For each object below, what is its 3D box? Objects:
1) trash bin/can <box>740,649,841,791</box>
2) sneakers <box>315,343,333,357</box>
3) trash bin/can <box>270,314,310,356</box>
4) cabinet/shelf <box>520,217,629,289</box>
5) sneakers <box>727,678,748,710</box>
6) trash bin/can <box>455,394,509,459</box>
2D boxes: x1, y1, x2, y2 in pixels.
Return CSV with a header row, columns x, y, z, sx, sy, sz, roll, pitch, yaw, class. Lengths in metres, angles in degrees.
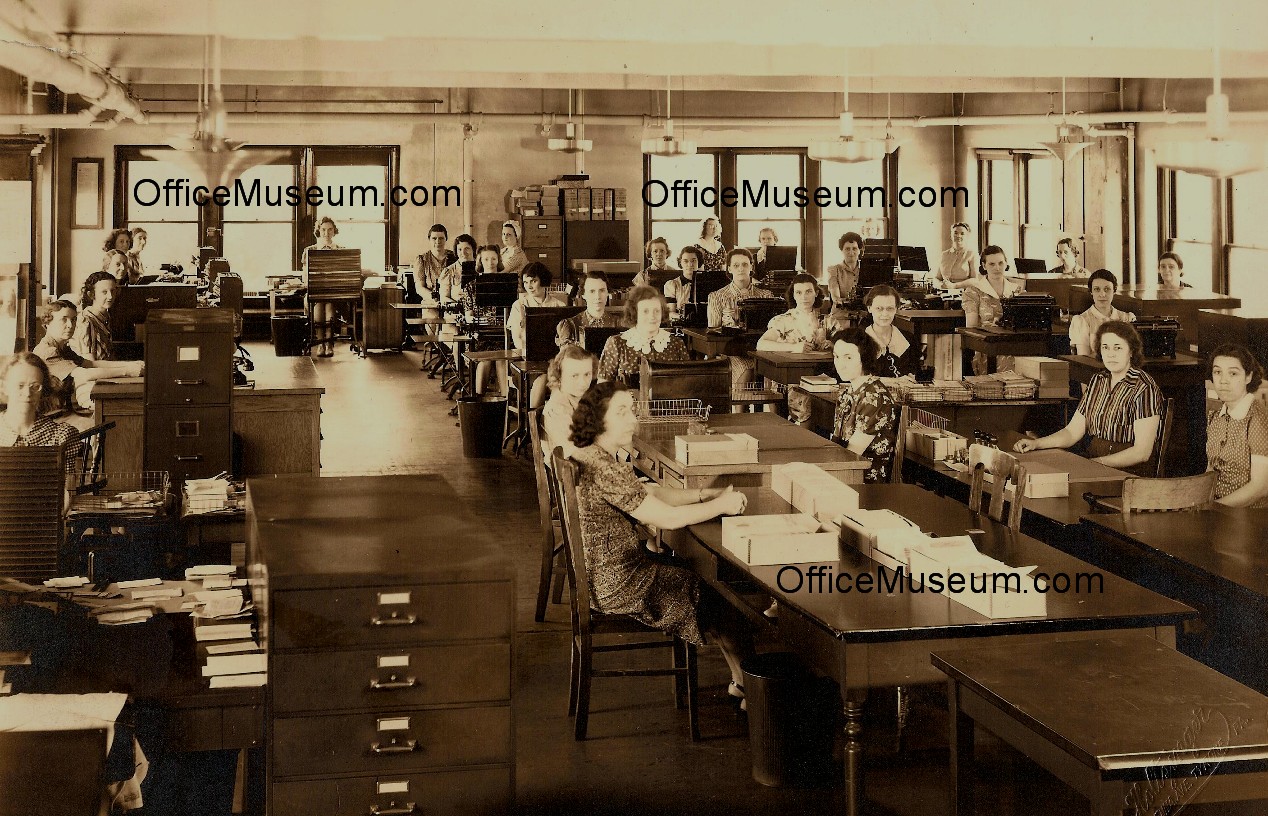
x,y,z,sx,sy,sz,roll,pitch,yaw,class
0.761,1.532,5.809,0.550,0.559,0.502,0,-2,-35,trash bin/can
-5.172,-0.966,19.574,0.291,0.095,0.275,1,-27,-15,sneakers
-5.309,-1.154,18.031,0.787,0.784,1.213,0,1,-13,trash bin/can
-1.043,-2.529,18.833,1.846,1.683,0.610,-2,5,-18,cabinet/shelf
0.553,1.576,6.424,0.097,0.115,0.269,0,-3,-2,sneakers
-1.560,0.212,12.087,0.534,0.564,0.568,-1,1,1,trash bin/can
